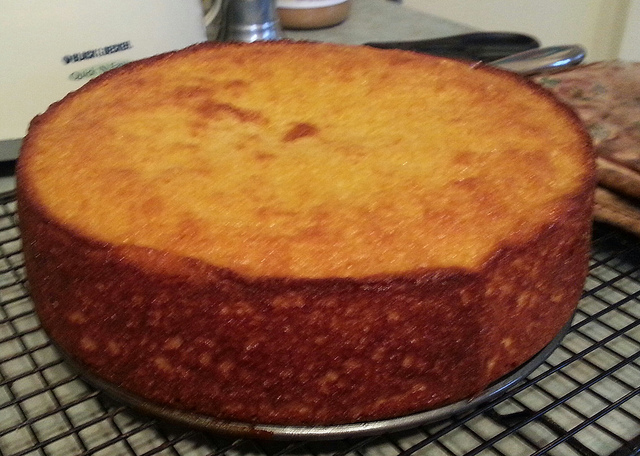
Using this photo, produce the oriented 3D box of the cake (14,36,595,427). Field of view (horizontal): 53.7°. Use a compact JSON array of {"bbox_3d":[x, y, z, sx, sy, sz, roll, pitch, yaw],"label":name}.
[{"bbox_3d":[-0.032,-0.024,0.677,0.621,0.259,0.468,3,32,6],"label":"cake"}]
